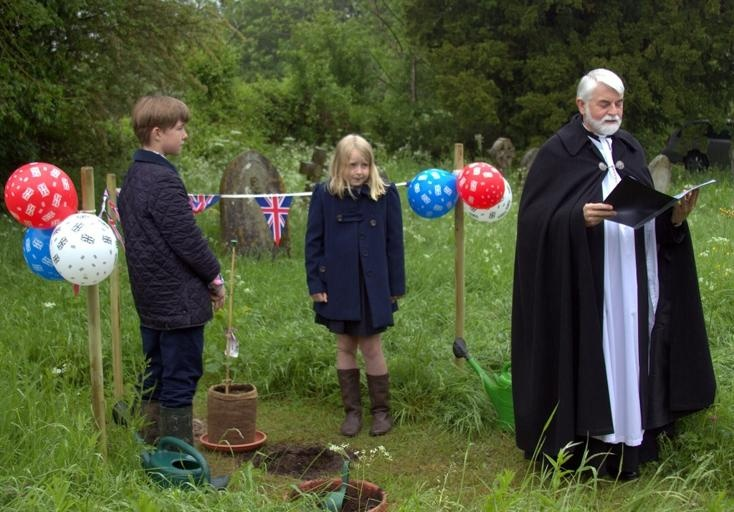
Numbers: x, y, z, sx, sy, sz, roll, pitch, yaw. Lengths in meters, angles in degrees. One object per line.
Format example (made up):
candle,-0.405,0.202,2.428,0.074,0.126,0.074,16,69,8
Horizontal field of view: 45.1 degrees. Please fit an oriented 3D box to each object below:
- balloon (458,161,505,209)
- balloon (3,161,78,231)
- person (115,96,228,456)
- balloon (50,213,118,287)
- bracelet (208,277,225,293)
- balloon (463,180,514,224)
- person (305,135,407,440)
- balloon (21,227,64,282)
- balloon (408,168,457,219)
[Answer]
balloon,1.130,-0.701,8.737,0.439,0.439,0.333,41,1,-6
balloon,-2.558,-0.477,7.061,0.572,0.467,0.429,17,6,-35
person,-1.666,0.134,7.492,0.839,3.004,0.501,-2,2,-4
balloon,-2.191,-0.084,7.061,0.524,0.652,0.533,-1,7,-15
bracelet,-1.285,0.234,7.595,0.093,0.124,0.122,-5,-19,2
balloon,1.230,-0.543,8.952,0.496,0.421,0.404,-3,0,44
person,-0.103,0.270,8.265,0.922,2.791,0.329,-2,2,-1
balloon,-2.697,-0.022,7.257,0.370,0.464,0.385,1,6,7
balloon,0.717,-0.655,8.898,0.378,0.395,0.525,21,26,29
